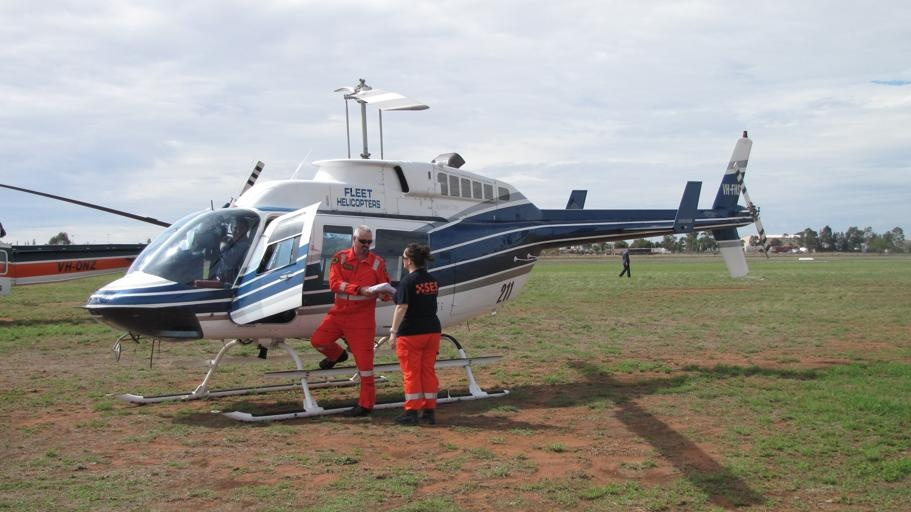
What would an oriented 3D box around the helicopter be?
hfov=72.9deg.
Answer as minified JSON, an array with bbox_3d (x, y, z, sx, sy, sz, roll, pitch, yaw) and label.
[{"bbox_3d":[-0.271,-0.060,14.769,14.025,3.273,9.961,3,-5,-26],"label":"helicopter"}]

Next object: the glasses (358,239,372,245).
[{"bbox_3d":[-1.627,-0.256,11.386,0.116,0.123,0.236,11,16,33],"label":"glasses"}]

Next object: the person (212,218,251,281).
[{"bbox_3d":[-4.371,-0.085,12.112,0.386,1.257,0.724,8,19,21],"label":"person"}]
